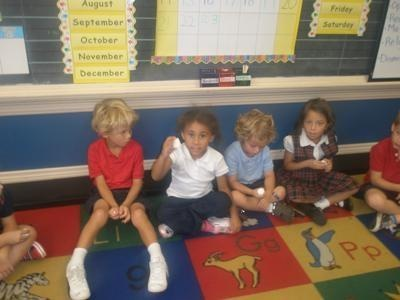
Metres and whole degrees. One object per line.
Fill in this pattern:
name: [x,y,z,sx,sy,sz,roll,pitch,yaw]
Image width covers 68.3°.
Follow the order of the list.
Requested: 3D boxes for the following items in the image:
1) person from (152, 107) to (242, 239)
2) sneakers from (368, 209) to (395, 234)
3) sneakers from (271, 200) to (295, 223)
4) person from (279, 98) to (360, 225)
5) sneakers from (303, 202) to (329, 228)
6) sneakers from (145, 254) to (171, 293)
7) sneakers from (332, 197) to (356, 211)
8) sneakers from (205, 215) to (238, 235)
person: [-0.002,0.136,2.057,0.624,0.803,0.512,3,16,4]
sneakers: [1.335,0.523,2.130,0.241,0.101,0.085,-17,44,-28]
sneakers: [0.635,0.462,2.221,0.168,0.123,0.112,7,24,17]
person: [0.952,0.062,2.294,0.624,0.793,0.664,2,23,8]
sneakers: [0.859,0.489,2.266,0.098,0.077,0.222,-18,42,-31]
sneakers: [-0.238,0.709,1.670,0.079,0.090,0.212,0,9,-2]
sneakers: [1.162,0.429,2.378,0.055,0.063,0.158,-22,27,-32]
sneakers: [0.123,0.513,2.036,0.161,0.057,0.099,6,56,-3]
